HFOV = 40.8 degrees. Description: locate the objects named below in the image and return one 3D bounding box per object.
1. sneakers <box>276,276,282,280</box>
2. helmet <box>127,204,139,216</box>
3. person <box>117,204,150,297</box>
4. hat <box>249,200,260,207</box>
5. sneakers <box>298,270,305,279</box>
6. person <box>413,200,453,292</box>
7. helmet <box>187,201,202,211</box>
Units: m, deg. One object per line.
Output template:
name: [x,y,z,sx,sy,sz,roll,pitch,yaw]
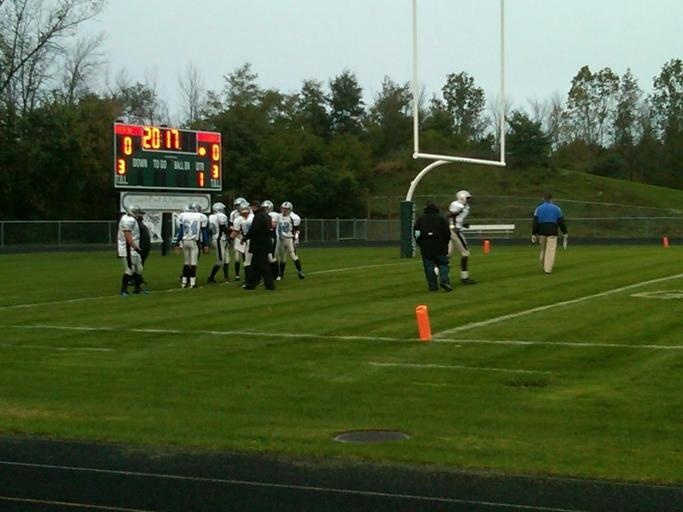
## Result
sneakers: [-1.453,0.505,21.093,0.071,0.093,0.209,-2,-7,7]
helmet: [-4.393,-0.943,19.232,0.206,0.214,0.268,10,13,7]
person: [-4.388,-0.067,18.985,0.471,1.833,1.170,-4,12,-14]
hat: [-1.844,-1.119,19.460,0.164,0.133,0.131,10,16,35]
sneakers: [-0.974,0.447,21.846,0.181,0.227,0.535,-1,-1,-5]
person: [1.846,-0.164,18.441,0.726,1.829,1.029,0,12,6]
helmet: [-3.286,-1.103,20.405,0.273,0.209,0.278,-22,26,-37]
